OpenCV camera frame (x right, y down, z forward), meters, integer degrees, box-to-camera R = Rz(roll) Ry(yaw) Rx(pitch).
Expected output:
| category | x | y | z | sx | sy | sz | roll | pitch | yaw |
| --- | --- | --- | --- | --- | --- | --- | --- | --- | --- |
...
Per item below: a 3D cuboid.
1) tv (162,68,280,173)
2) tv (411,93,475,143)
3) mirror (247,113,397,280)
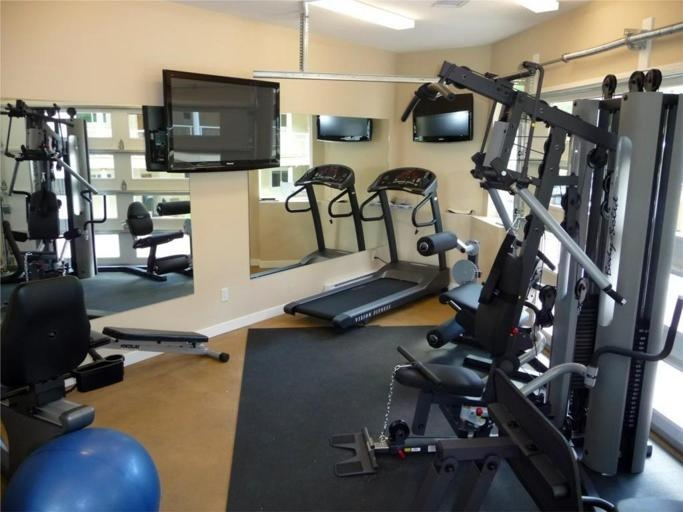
| category | x | y | z | sx | sy | sz | roll | pitch | yaw |
| --- | --- | --- | --- | --- | --- | --- | --- | --- | --- |
| tv | -1.201 | -1.317 | 4.950 | 1.085 | 0.786 | 0.086 | -8 | 14 | -41 |
| tv | 1.254 | -1.744 | 6.549 | 0.832 | 0.558 | 0.203 | 11 | 18 | 42 |
| mirror | -0.314 | -0.787 | 6.136 | 0.102 | 1.771 | 1.985 | 11 | 18 | 43 |
